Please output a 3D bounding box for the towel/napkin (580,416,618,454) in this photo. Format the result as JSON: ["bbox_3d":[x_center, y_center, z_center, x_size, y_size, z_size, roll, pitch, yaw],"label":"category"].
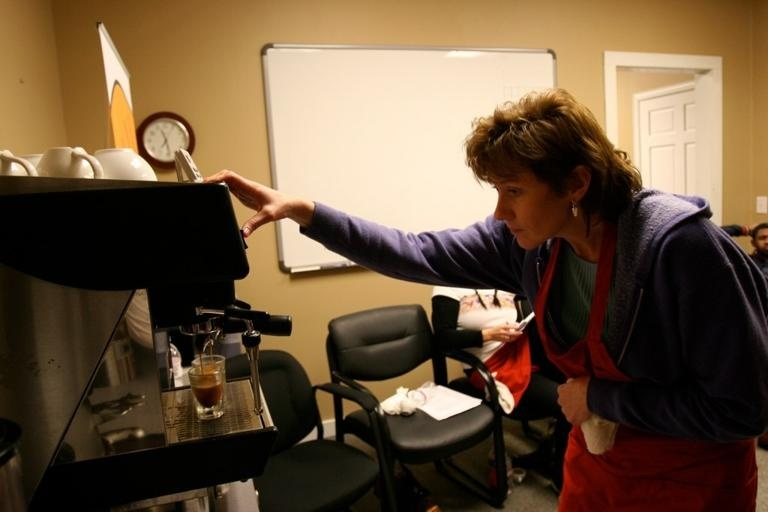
[{"bbox_3d":[0.672,0.555,1.862,0.064,0.126,0.094,-9,0,-41],"label":"towel/napkin"}]

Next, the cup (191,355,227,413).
[{"bbox_3d":[-0.559,0.431,1.859,0.100,0.162,0.104,-3,3,0],"label":"cup"}]

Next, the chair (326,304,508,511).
[{"bbox_3d":[0.273,0.685,3.282,0.863,1.256,0.982,-4,1,-30],"label":"chair"}]

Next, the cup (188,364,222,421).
[{"bbox_3d":[-0.550,0.427,1.854,0.121,0.147,0.121,-3,6,0],"label":"cup"}]

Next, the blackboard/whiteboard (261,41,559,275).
[{"bbox_3d":[0.012,-0.509,2.933,1.359,0.984,0.052,-2,7,-10],"label":"blackboard/whiteboard"}]
